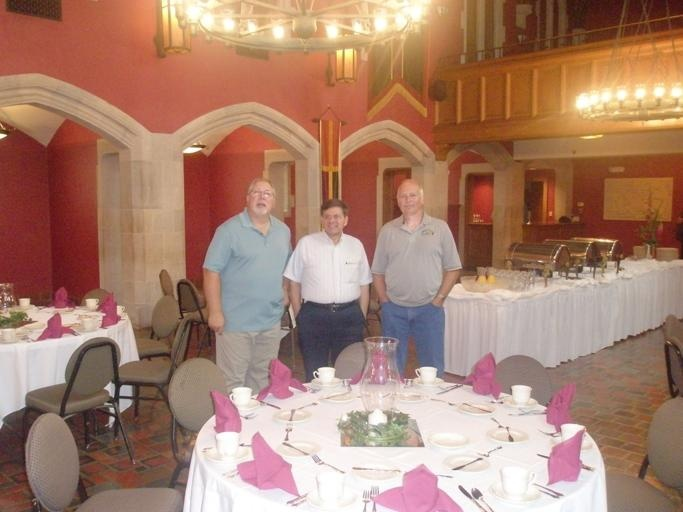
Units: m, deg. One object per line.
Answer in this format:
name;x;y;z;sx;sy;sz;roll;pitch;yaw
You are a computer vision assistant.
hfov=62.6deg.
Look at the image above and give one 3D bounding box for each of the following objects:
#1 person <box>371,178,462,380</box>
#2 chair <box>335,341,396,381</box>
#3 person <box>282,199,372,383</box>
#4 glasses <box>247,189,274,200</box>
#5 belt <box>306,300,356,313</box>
person;0.619;0.406;4.676;0.776;2.036;0.454;0;17;13
chair;0.092;0.660;3.610;0.201;0.264;0.278;10;-13;13
person;-0.103;0.439;4.365;0.665;1.727;0.378;-2;15;-9
glasses;-0.568;-0.437;3.999;0.179;0.065;0.091;-2;10;-9
belt;-0.076;0.369;4.182;0.401;0.076;0.092;-2;10;-7
